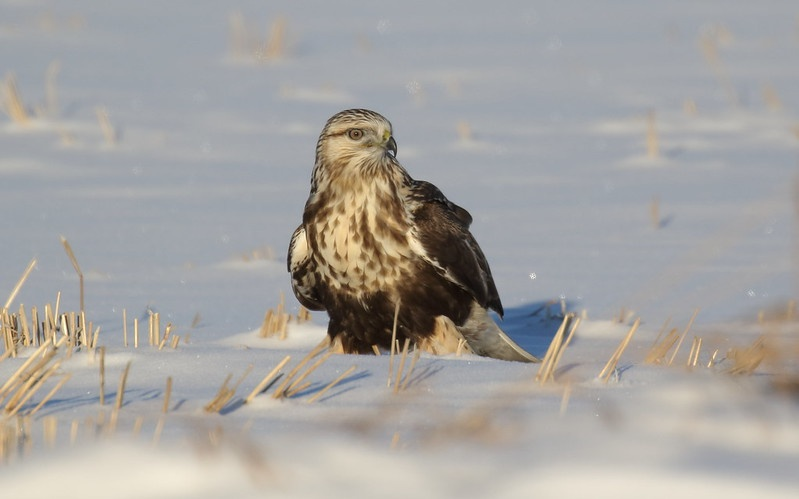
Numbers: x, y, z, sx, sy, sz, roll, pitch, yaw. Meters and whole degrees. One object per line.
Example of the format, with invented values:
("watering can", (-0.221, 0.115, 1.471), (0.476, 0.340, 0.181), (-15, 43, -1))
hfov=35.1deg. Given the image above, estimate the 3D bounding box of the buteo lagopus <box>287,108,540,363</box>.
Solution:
("buteo lagopus", (-0.015, -0.101, 9.162), (1.543, 1.772, 0.811), (1, 6, -5))
